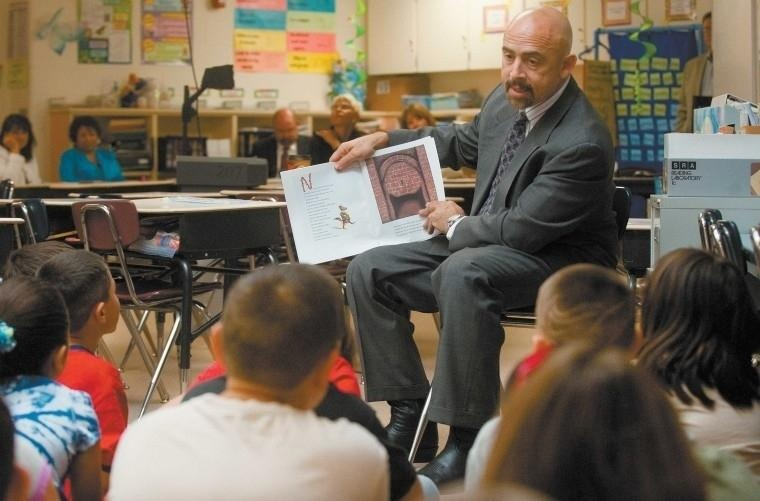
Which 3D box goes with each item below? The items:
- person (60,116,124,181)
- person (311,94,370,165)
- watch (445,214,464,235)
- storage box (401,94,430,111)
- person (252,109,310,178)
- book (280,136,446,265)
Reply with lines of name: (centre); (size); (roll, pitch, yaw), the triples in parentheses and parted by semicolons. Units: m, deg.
person: (-3.008, -0.988, 7.207); (0.648, 0.798, 0.670); (-2, -4, -29)
person: (-0.423, -1.033, 6.922); (0.567, 1.171, 0.320); (2, -27, 3)
watch: (0.280, -0.093, 2.501); (0.056, 0.073, 0.032); (16, 16, -6)
storage box: (0.370, -1.524, 7.008); (0.299, 0.131, 0.193); (-7, 11, -37)
person: (-1.023, -1.094, 7.054); (0.692, 0.944, 0.300); (4, 13, 8)
book: (-0.051, -0.208, 2.630); (0.389, 0.036, 0.629); (-3, 39, 36)
